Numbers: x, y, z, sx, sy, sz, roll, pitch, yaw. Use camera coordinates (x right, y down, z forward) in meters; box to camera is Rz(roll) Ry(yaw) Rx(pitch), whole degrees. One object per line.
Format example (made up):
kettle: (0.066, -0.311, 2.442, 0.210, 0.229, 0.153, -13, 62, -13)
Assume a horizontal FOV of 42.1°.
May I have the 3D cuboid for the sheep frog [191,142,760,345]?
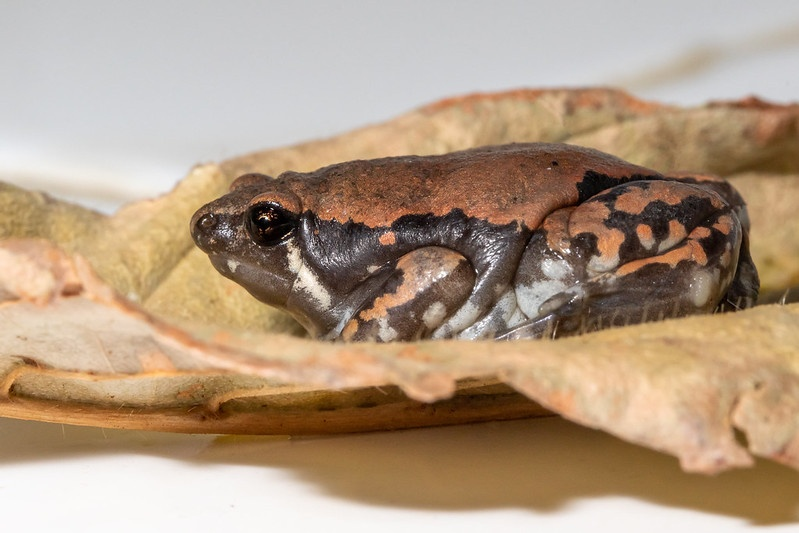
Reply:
sheep frog: (0.099, -0.068, 1.725, 0.718, 0.180, 0.430, -1, 9, 0)
